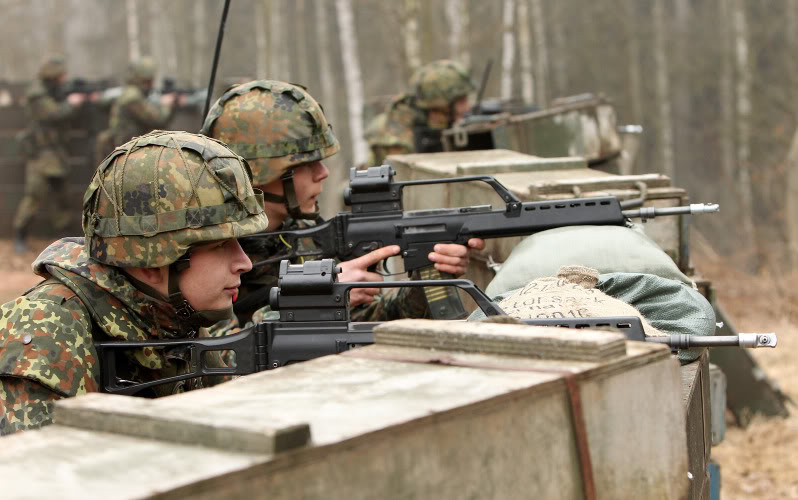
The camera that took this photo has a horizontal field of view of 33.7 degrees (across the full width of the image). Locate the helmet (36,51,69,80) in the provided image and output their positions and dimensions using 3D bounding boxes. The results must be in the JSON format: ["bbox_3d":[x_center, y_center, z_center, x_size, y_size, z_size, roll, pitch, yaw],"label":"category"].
[{"bbox_3d":[-5.385,-2.856,20.702,0.369,0.491,0.506,22,14,5],"label":"helmet"}]
